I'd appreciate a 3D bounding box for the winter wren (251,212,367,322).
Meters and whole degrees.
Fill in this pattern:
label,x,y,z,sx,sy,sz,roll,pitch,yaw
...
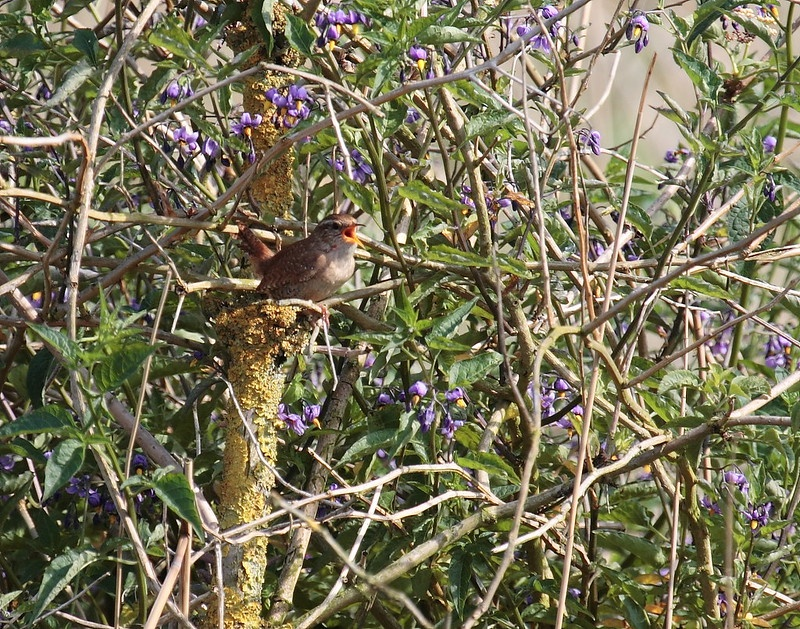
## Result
label,x,y,z,sx,sy,sz,roll,pitch,yaw
winter wren,-0.361,-0.180,4.621,0.492,0.399,0.265,0,4,19
